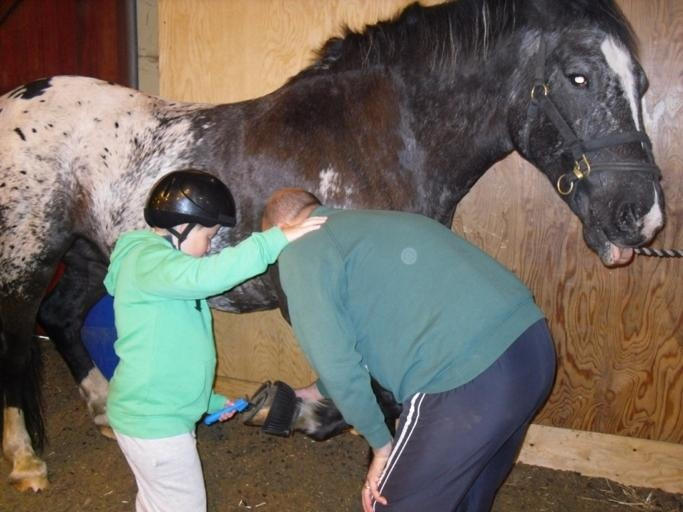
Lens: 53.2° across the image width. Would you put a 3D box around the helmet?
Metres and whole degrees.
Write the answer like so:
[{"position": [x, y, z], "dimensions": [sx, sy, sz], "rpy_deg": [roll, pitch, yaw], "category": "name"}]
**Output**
[{"position": [-0.694, -0.261, 3.098], "dimensions": [0.285, 0.223, 0.276], "rpy_deg": [-2, 14, -16], "category": "helmet"}]
